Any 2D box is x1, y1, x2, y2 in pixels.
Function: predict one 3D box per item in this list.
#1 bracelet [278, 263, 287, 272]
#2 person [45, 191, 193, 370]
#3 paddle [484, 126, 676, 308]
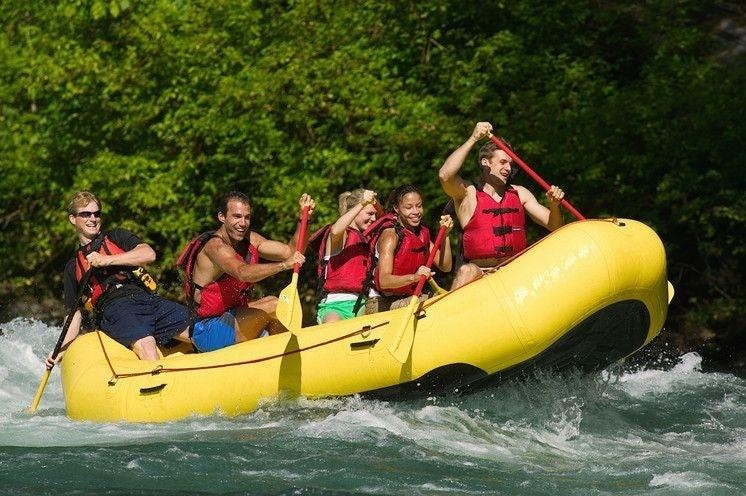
[{"bbox_3d":[-0.934,0.196,11.057,0.060,0.079,0.029,-2,19,-33],"label":"bracelet"},{"bbox_3d":[-2.948,0.357,12.877,1.324,1.969,1.122,-28,-6,-29],"label":"person"},{"bbox_3d":[2.422,-0.383,12.254,3.195,0.640,0.234,44,8,4],"label":"paddle"}]
